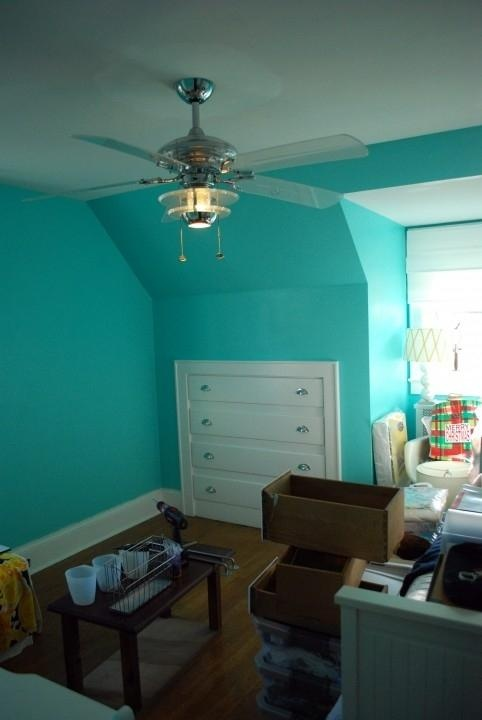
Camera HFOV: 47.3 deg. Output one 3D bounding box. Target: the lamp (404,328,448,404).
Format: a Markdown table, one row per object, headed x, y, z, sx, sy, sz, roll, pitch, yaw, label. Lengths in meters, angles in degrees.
| x | y | z | sx | sy | sz | roll | pitch | yaw | label |
| --- | --- | --- | --- | --- | --- | --- | --- | --- | --- |
| 1.435 | 0.040 | 4.247 | 0.314 | 0.571 | 0.603 | -2 | 3 | 18 | lamp |
